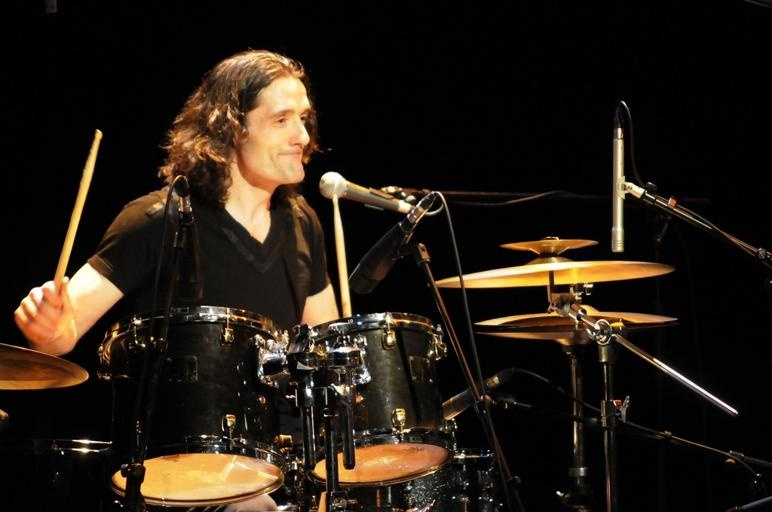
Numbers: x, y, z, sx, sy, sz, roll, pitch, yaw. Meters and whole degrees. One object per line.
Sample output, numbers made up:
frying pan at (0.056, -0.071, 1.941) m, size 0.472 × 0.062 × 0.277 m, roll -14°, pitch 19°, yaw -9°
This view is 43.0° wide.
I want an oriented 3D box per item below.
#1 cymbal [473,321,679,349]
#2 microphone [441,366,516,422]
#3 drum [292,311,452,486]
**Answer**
cymbal at (1.081, 0.413, 5.420) m, size 0.968 × 0.111 × 0.947 m, roll -2°, pitch -8°, yaw 20°
microphone at (0.460, 0.733, 5.189) m, size 0.314 × 0.294 × 0.478 m, roll -8°, pitch -16°, yaw 33°
drum at (-0.047, 0.676, 5.023) m, size 0.730 × 0.621 × 0.702 m, roll -7°, pitch -14°, yaw 13°
